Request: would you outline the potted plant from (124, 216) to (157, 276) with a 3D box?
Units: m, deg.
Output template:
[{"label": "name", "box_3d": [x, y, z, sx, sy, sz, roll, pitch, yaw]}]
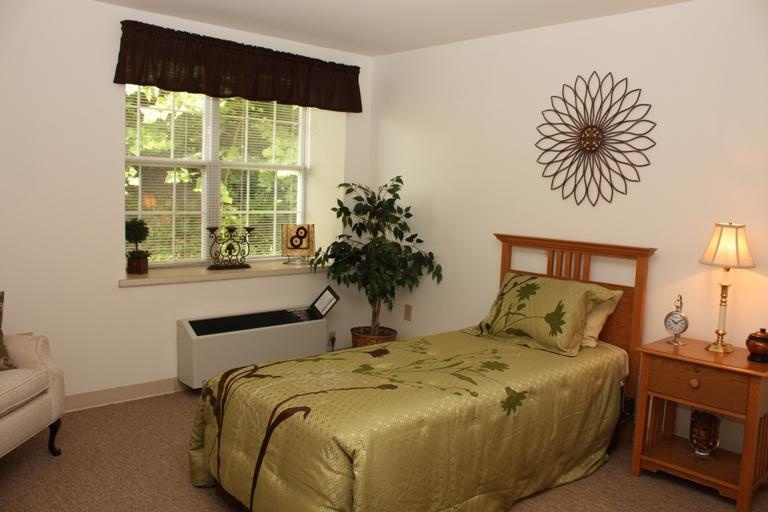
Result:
[{"label": "potted plant", "box_3d": [-2.177, -0.095, 4.662, 0.203, 0.474, 0.365, 1, 8, -24]}]

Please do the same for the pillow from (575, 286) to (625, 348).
[{"label": "pillow", "box_3d": [1.611, 0.455, 3.942, 0.126, 0.405, 0.426, 8, 4, -30]}]
